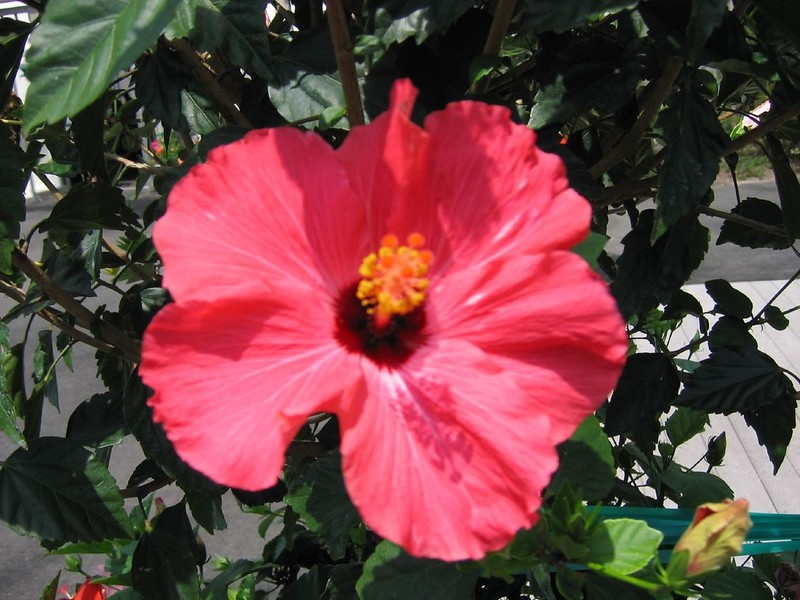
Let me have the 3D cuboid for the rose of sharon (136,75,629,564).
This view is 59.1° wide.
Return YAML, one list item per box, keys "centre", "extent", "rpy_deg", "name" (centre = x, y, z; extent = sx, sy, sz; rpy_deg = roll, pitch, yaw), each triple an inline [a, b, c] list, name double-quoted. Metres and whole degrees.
- centre: [-0.022, 0.048, 0.996]
  extent: [0.606, 0.276, 0.621]
  rpy_deg: [-13, 83, -4]
  name: "rose of sharon"
